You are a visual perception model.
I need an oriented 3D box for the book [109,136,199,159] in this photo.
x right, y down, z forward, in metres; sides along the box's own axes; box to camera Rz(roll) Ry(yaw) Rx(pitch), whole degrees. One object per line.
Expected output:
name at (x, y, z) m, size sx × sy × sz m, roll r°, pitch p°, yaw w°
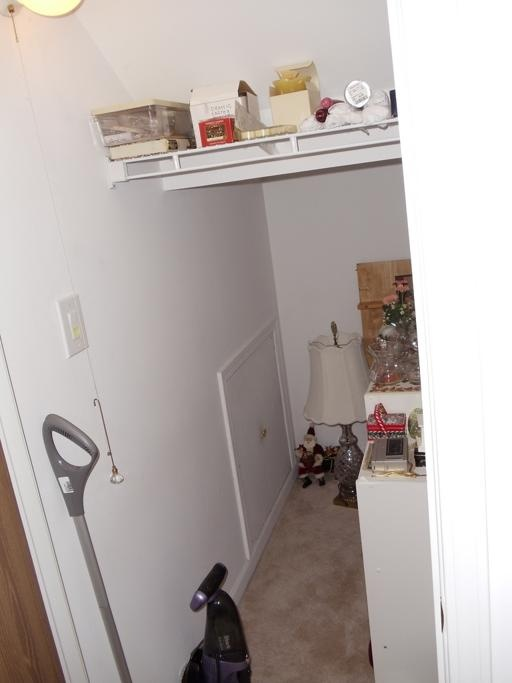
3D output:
book at (-0.329, -0.611, 1.693) m, size 0.251 × 0.051 × 0.079 m, roll -14°, pitch 14°, yaw -19°

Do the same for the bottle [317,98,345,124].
bottle at (0.219, -0.705, 1.618) m, size 0.081 × 0.074 × 0.069 m, roll -11°, pitch 13°, yaw -6°

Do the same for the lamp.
lamp at (0.557, 0.465, 3.441) m, size 0.464 × 1.126 × 0.462 m, roll -10°, pitch 12°, yaw -12°

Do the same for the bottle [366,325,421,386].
bottle at (0.544, 0.058, 2.134) m, size 0.191 × 0.244 × 0.149 m, roll -6°, pitch 14°, yaw 13°
